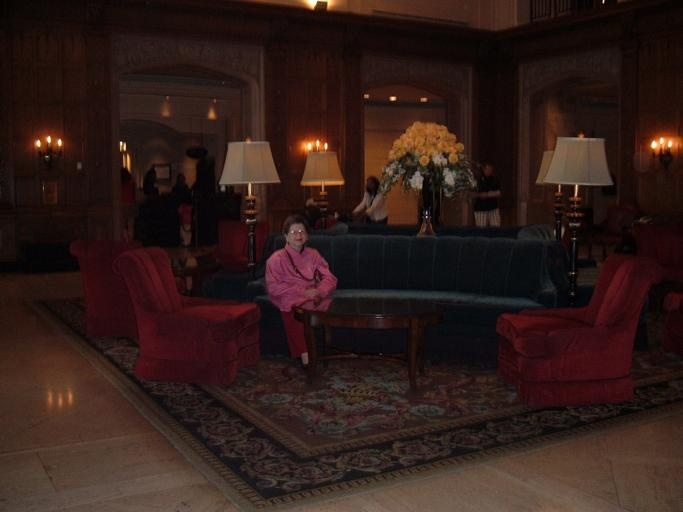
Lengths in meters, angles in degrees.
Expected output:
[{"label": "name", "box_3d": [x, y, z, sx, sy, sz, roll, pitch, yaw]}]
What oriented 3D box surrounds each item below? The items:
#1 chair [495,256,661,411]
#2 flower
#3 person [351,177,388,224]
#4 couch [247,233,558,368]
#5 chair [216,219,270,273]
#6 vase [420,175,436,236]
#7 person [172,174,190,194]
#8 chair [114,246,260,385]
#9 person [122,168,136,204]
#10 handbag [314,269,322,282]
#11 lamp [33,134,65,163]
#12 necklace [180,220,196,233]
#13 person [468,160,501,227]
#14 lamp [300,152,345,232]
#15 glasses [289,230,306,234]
[{"label": "chair", "box_3d": [1.716, 0.513, 4.218, 1.030, 0.992, 1.008, -1, 3, -3]}, {"label": "flower", "box_3d": [0.915, -1.042, 6.041, 0.677, 0.669, 0.732, 1, 7, 5]}, {"label": "person", "box_3d": [0.499, -0.960, 9.568, 0.491, 0.767, 0.552, 3, 8, 21]}, {"label": "couch", "box_3d": [0.834, 0.322, 5.306, 2.146, 0.838, 0.737, 2, 13, 9]}, {"label": "chair", "box_3d": [-1.350, -0.073, 7.359, 0.735, 0.891, 0.651, 1, -3, -1]}, {"label": "vase", "box_3d": [0.892, -0.546, 5.940, 0.185, 0.564, 0.187, 4, 6, 10]}, {"label": "person", "box_3d": [-4.165, -1.897, 14.736, 0.391, 0.495, 1.042, -3, 8, -17]}, {"label": "chair", "box_3d": [-1.271, 0.454, 4.687, 0.961, 0.984, 0.968, 0, 3, 4]}, {"label": "person", "box_3d": [-4.754, -1.590, 12.627, 0.233, 0.743, 1.239, -4, 8, -22]}, {"label": "handbag", "box_3d": [-0.212, 0.177, 5.045, 0.067, 0.078, 0.091, 2, -6, -7]}, {"label": "lamp", "box_3d": [-5.126, -1.895, 9.895, 0.460, 0.641, 0.128, -1, 0, -19]}, {"label": "necklace", "box_3d": [-2.172, -0.421, 8.100, 0.183, 0.222, 0.236, 0, -3, 1]}, {"label": "person", "box_3d": [2.385, -1.021, 9.332, 0.408, 1.006, 0.821, 2, 8, 15]}, {"label": "lamp", "box_3d": [-0.242, -0.750, 7.336, 0.499, 1.122, 0.518, 2, 9, 16]}, {"label": "glasses", "box_3d": [-0.385, -0.208, 4.899, 0.120, 0.041, 0.024, 0, 8, -1]}]
